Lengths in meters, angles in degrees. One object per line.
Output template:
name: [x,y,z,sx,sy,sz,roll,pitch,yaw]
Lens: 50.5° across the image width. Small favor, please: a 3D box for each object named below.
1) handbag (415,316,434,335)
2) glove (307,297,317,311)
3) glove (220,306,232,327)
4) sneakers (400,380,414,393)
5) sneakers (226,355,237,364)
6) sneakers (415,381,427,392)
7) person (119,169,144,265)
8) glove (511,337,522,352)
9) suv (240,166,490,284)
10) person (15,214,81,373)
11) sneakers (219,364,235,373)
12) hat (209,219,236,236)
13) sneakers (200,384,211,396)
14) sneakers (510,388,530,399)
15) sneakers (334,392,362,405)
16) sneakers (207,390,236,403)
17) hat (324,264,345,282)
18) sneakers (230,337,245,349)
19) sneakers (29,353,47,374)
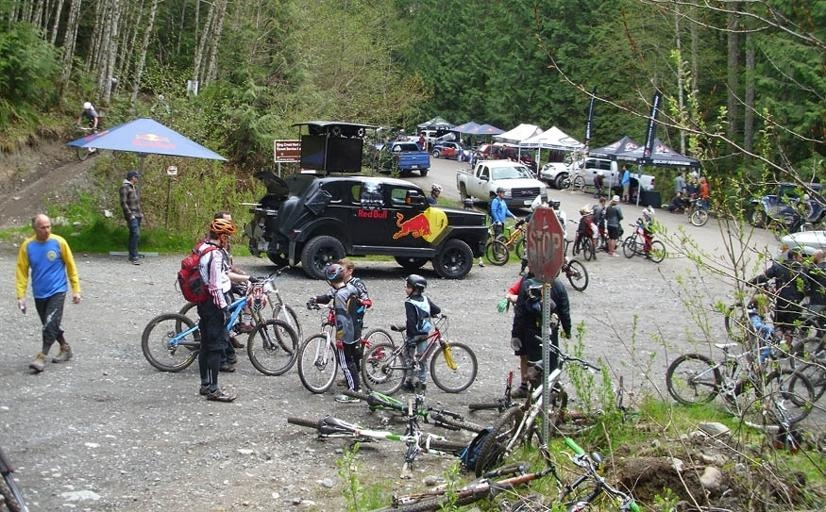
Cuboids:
handbag: [0.221,1.411,17.757,0.285,0.285,0.163,-21,51,-25]
glove: [-2.011,0.963,17.594,0.251,0.133,0.260,-3,7,-9]
glove: [-3.605,1.205,17.218,0.146,0.401,0.279,2,3,-30]
sneakers: [-0.159,2.680,17.957,0.363,0.273,0.123,-11,18,-28]
sneakers: [-3.818,2.204,18.497,0.172,0.116,0.180,-3,-11,-5]
sneakers: [0.177,2.712,18.023,0.212,0.225,0.142,-5,8,-44]
person: [-7.928,-1.107,24.702,0.520,2.526,0.994,0,9,-18]
glove: [2.043,1.787,17.609,0.164,0.297,0.265,-5,-13,21]
suv: [-1.542,-0.992,26.005,5.122,2.463,3.481,-1,5,-23]
person: [-7.395,0.709,17.821,1.133,3.049,1.122,-2,9,-25]
sneakers: [-3.832,2.354,18.229,0.289,0.125,0.136,0,5,37]
hat: [-3.811,-0.514,17.540,0.384,0.215,0.328,12,25,-1]
sneakers: [-4.074,2.635,17.178,0.245,0.251,0.149,-9,17,-40]
sneakers: [2.173,2.805,17.804,0.454,0.212,0.174,3,7,4]
sneakers: [-1.264,2.793,17.191,0.550,0.276,0.266,6,9,2]
sneakers: [-3.723,2.743,17.135,0.579,0.265,0.220,1,8,-4]
hat: [-1.560,0.320,17.640,0.290,0.383,0.396,12,24,17]
sneakers: [-3.799,1.907,19.081,0.129,0.170,0.385,5,6,21]
sneakers: [-7.443,2.154,17.452,0.197,0.243,0.553,25,-1,-13]
